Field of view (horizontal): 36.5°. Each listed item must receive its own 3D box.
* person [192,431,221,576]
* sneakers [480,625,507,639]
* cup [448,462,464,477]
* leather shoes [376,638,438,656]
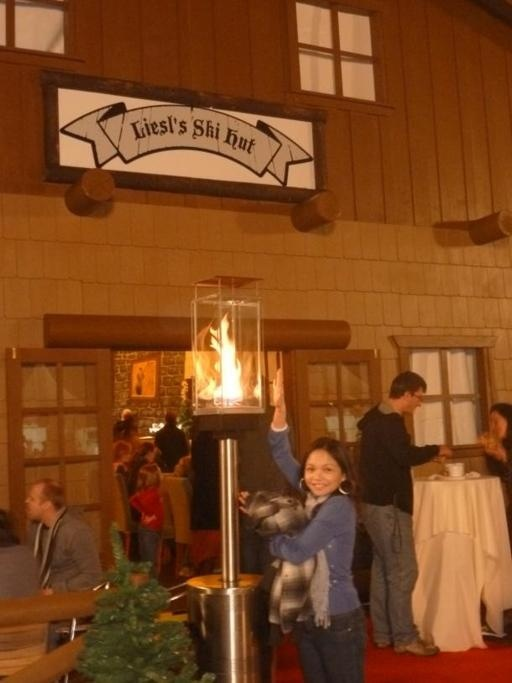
[{"bbox_3d":[-0.435,1.382,6.664,0.271,1.191,0.385,-3,-7,-6],"label":"person"},{"bbox_3d":[1.430,1.751,4.673,0.058,0.064,0.171,2,0,-29],"label":"sneakers"},{"bbox_3d":[1.220,0.785,4.767,0.072,0.064,0.092,3,-7,-37],"label":"cup"},{"bbox_3d":[0.861,1.707,4.394,0.332,0.128,0.112,-5,-4,13],"label":"leather shoes"}]
